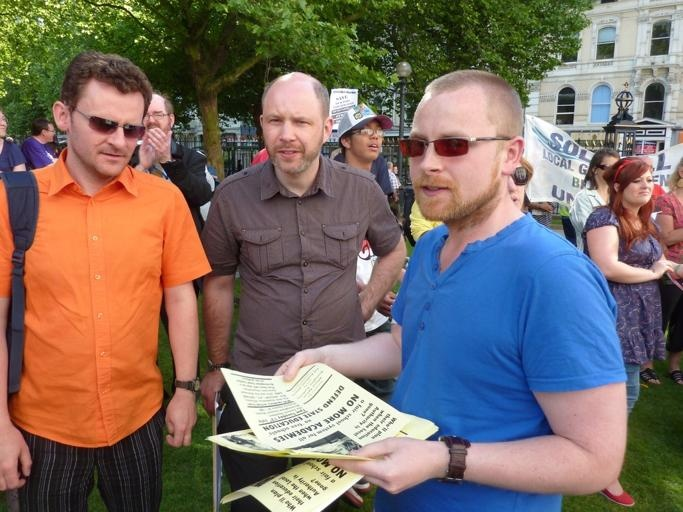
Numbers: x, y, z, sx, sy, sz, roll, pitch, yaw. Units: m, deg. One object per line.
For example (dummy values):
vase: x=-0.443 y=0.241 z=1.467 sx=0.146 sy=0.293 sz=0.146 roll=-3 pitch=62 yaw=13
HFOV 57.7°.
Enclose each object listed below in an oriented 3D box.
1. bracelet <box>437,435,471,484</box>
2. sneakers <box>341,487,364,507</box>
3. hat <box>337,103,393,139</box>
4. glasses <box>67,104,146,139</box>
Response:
bracelet: x=0.419 y=0.739 z=2.243 sx=0.127 sy=0.132 sz=0.134 roll=2 pitch=-9 yaw=2
sneakers: x=0.083 y=1.706 z=4.434 sx=0.093 sy=0.112 sz=0.265 roll=0 pitch=4 yaw=-11
hat: x=0.178 y=-1.181 z=5.447 sx=0.298 sy=0.279 sz=0.487 roll=-16 pitch=3 yaw=-33
glasses: x=-1.148 y=-0.650 z=3.052 sx=0.331 sy=0.140 sz=0.112 roll=-3 pitch=11 yaw=-25
